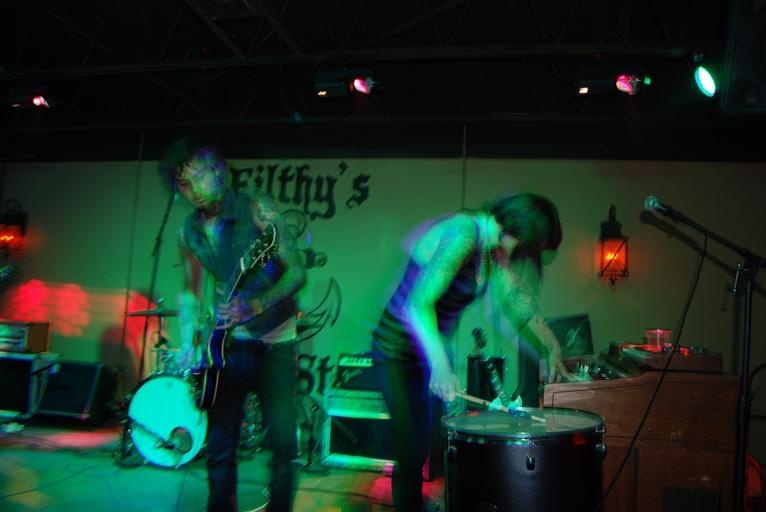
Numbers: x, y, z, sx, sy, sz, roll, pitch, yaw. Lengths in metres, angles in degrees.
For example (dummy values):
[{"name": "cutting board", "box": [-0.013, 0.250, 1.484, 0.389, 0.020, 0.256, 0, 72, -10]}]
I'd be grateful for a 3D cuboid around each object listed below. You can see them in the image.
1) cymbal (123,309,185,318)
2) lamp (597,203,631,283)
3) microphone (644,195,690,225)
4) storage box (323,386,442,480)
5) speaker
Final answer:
[{"name": "cymbal", "box": [-2.588, 0.654, 7.096, 0.347, 0.082, 0.335, 0, -2, -39]}, {"name": "lamp", "box": [2.812, -0.135, 7.543, 0.333, 0.929, 0.264, -1, -13, 20]}, {"name": "microphone", "box": [3.080, -0.491, 6.680, 0.186, 0.218, 0.689, 30, 7, -22]}, {"name": "storage box", "box": [0.036, 2.076, 7.162, 1.711, 1.021, 1.190, 3, -18, 5]}, {"name": "speaker", "box": [-3.608, 1.682, 7.700, 0.870, 0.853, 0.706, 6, -22, 14]}]
